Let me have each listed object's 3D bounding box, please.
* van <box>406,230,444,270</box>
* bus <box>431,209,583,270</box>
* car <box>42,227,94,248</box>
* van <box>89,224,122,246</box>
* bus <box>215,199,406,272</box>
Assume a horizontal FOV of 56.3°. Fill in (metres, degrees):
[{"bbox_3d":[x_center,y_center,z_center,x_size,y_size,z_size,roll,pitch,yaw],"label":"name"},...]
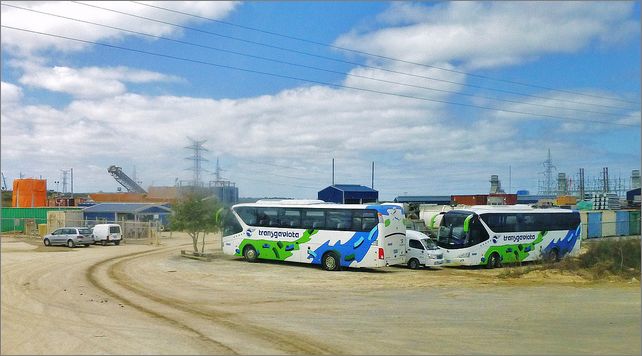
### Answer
[{"bbox_3d":[7.969,5.625,46.799,2.796,3.086,1.707,3,15,10],"label":"van"},{"bbox_3d":[16.136,4.612,51.225,14.582,4.781,4.239,1,2,-33],"label":"bus"},{"bbox_3d":[-25.016,5.924,59.376,4.496,1.980,1.361,3,15,11],"label":"car"},{"bbox_3d":[-21.791,5.838,61.316,2.581,2.179,1.266,-1,15,-7],"label":"van"},{"bbox_3d":[-0.900,4.446,48.628,15.783,4.843,4.687,0,-5,35],"label":"bus"}]
